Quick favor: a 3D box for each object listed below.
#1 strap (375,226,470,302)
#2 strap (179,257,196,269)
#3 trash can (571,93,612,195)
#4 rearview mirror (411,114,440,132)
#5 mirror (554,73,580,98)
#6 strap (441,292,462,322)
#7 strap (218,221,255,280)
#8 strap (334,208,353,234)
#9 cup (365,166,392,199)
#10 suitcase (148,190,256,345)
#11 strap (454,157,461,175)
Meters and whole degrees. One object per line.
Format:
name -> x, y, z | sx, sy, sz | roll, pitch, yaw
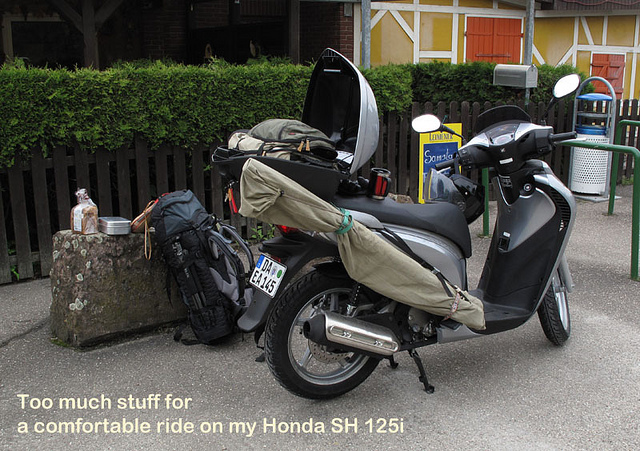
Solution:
strap -> 0.701, 0.237, 4.170 | 0.209, 0.143, 1.137 | 29, 8, -39
strap -> -1.077, 0.310, 4.710 | 0.163, 0.044, 0.047 | -39, 16, 2
trash can -> 4.322, -1.304, 9.066 | 0.563, 1.832, 0.724 | -14, 18, -38
rearview mirror -> 0.819, -0.784, 4.393 | 0.205, 0.133, 0.097 | 0, 11, 9
mirror -> 1.931, -1.090, 4.468 | 0.178, 0.174, 0.108 | 3, 12, 24
strap -> 0.949, 0.588, 4.113 | 0.058, 0.165, 0.123 | 38, 6, 6
strap -> -0.778, 0.235, 5.333 | 0.053, 0.280, 0.441 | -5, 45, -44
strap -> 0.143, -0.021, 3.813 | 0.106, 0.073, 0.150 | 7, 47, -42
cup -> 0.414, -0.295, 4.052 | 0.184, 0.212, 0.159 | -2, 11, -2
suitcase -> -1.077, 0.394, 5.093 | 0.706, 1.244, 0.913 | -21, -1, 16
strap -> 1.102, -0.491, 4.593 | 0.036, 0.119, 0.065 | 1, 11, 13
